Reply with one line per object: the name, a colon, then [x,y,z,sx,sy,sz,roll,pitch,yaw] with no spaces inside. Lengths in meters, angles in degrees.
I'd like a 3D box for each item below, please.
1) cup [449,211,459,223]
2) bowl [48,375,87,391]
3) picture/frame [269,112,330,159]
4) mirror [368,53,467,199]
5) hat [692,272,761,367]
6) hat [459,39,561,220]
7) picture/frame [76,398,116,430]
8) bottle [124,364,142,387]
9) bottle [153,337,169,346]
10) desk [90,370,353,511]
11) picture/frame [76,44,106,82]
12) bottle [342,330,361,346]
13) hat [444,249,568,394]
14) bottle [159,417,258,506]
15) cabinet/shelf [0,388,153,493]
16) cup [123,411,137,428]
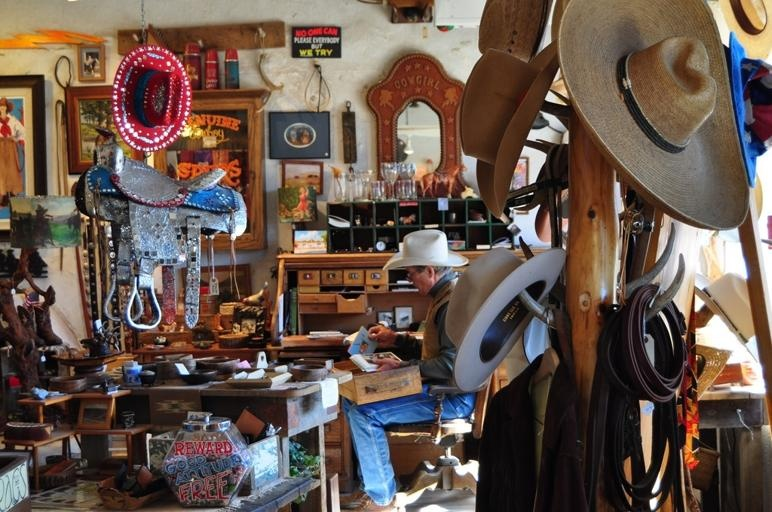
cup: [0.586,-0.345,7.715,0.084,0.102,0.085,2,0,0]
bowl: [-1.918,0.775,5.240,0.115,0.048,0.124,-3,0,0]
picture/frame: [-0.815,-1.104,8.016,0.383,0.333,0.016,-1,-3,-4]
mirror: [0.304,-1.222,8.113,0.953,1.456,0.084,-2,37,6]
hat: [1.943,0.332,5.008,0.314,0.454,0.199,-1,-1,23]
hat: [0.565,-0.592,4.167,0.294,0.793,0.681,0,-1,-26]
picture/frame: [-1.718,0.946,5.171,0.161,0.180,0.064,4,1,2]
bottle: [-1.537,0.734,5.296,0.109,0.131,0.112,2,2,37]
bottle: [-1.980,0.772,7.686,0.077,0.094,0.065,0,-11,6]
desk: [-0.803,1.295,5.128,1.000,0.833,0.867,0,1,17]
picture/frame: [-2.740,-1.800,8.089,0.312,0.459,0.044,0,3,-5]
bottle: [-0.286,0.676,7.070,0.136,0.044,0.139,-27,-5,-2]
hat: [0.578,0.316,4.216,0.578,0.708,0.360,-1,-1,4]
bottle: [-0.942,1.084,4.579,0.399,0.493,0.445,1,0,-10]
cabinet/shelf: [-1.725,1.040,5.231,0.624,0.511,0.646,-2,-7,9]
cup: [-1.522,0.986,5.182,0.074,0.086,0.079,1,-4,0]
